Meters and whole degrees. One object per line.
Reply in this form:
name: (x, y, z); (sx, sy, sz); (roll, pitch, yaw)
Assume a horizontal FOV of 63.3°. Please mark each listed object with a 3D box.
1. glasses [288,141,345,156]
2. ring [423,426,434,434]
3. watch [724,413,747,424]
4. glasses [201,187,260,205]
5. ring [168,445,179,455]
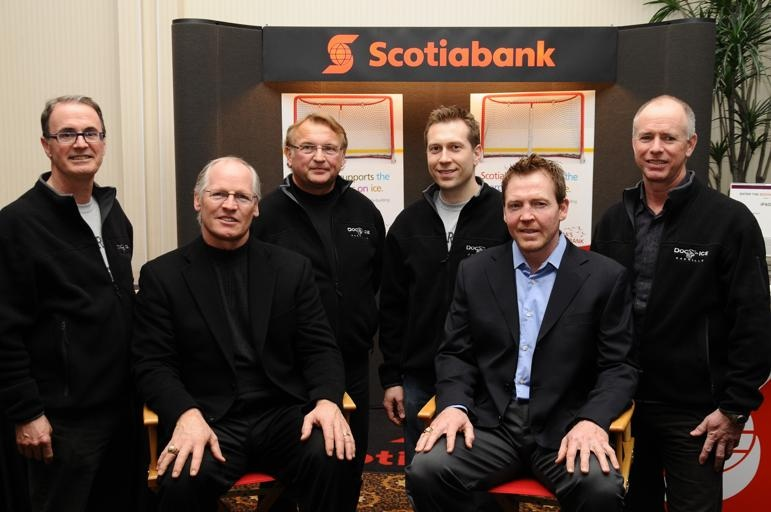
glasses: (-0.413, -0.637, 3.740); (0.304, 0.079, 0.095); (-1, 12, -5)
ring: (0.220, 0.905, 3.227); (0.036, 0.013, 0.027); (-30, 42, -11)
watch: (1.794, 0.832, 3.176); (0.071, 0.030, 0.060); (11, -16, -3)
glasses: (-0.829, -0.312, 3.382); (0.271, 0.081, 0.075); (-4, 12, -21)
ring: (-1.058, 0.974, 3.114); (0.054, 0.039, 0.024); (3, 12, 15)
